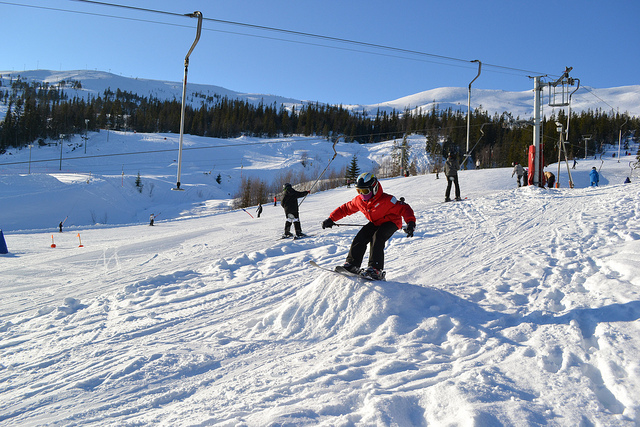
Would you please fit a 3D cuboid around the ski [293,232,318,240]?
[{"bbox_3d":[-0.676,0.797,19.624,0.564,0.247,0.179,-7,3,-8],"label":"ski"}]

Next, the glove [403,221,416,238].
[{"bbox_3d":[2.203,0.395,13.712,0.253,0.356,0.108,22,-3,26],"label":"glove"}]

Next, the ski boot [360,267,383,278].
[{"bbox_3d":[1.204,1.425,13.493,0.490,0.228,0.200,0,6,0],"label":"ski boot"}]

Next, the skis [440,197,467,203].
[{"bbox_3d":[5.777,-0.590,24.206,1.222,0.106,0.144,-5,30,-6],"label":"skis"}]
